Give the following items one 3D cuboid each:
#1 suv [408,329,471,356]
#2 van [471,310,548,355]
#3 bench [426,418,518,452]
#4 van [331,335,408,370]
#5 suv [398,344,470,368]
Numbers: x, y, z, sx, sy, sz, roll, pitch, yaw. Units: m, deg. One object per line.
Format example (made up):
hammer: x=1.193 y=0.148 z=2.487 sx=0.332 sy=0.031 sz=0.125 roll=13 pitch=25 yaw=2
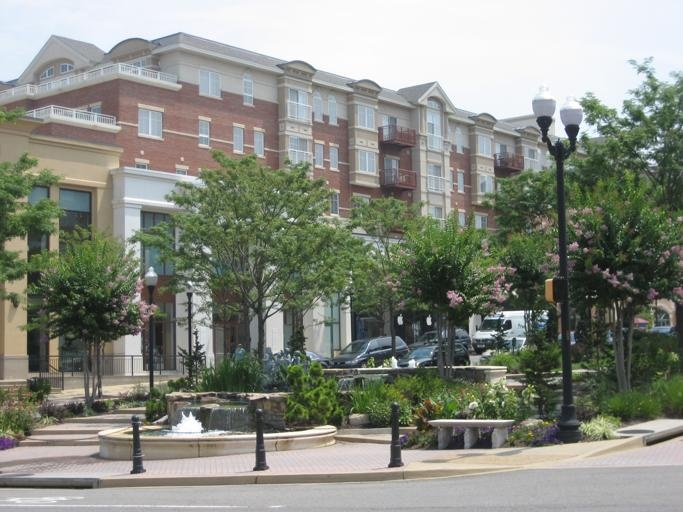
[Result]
suv: x=5.332 y=4.357 z=69.012 sx=3.337 sy=1.610 sz=1.761 roll=4 pitch=-8 yaw=-35
van: x=8.486 y=3.836 z=68.525 sx=2.160 sy=2.265 sz=5.223 roll=-5 pitch=-10 yaw=35
bench: x=3.994 y=5.397 z=38.779 sx=2.326 sy=0.956 sz=0.959 roll=-5 pitch=-10 yaw=10
van: x=1.212 y=4.700 z=62.695 sx=2.636 sy=1.916 sz=5.050 roll=-8 pitch=-12 yaw=26
suv: x=4.205 y=4.664 z=59.380 sx=2.901 sy=1.223 sz=1.399 roll=0 pitch=-4 yaw=12
